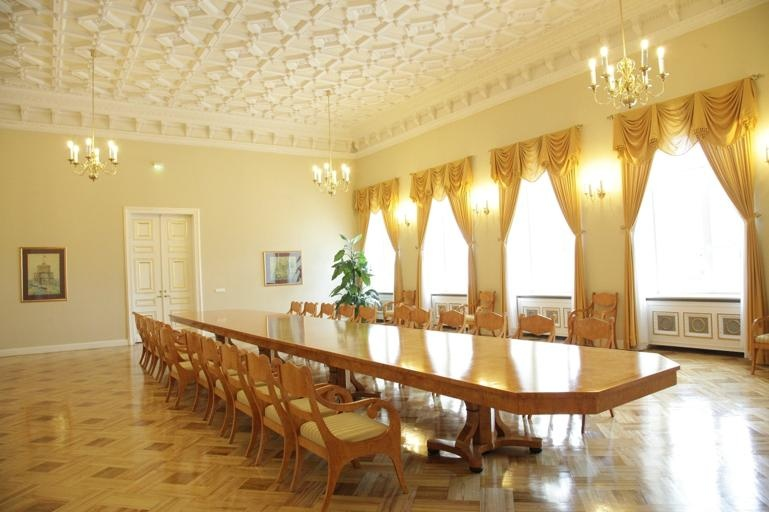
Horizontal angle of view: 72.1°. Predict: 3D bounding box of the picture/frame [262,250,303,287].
[{"bbox_3d":[-2.792,0.340,14.128,0.930,0.830,0.069,-2,1,-32],"label":"picture/frame"}]
